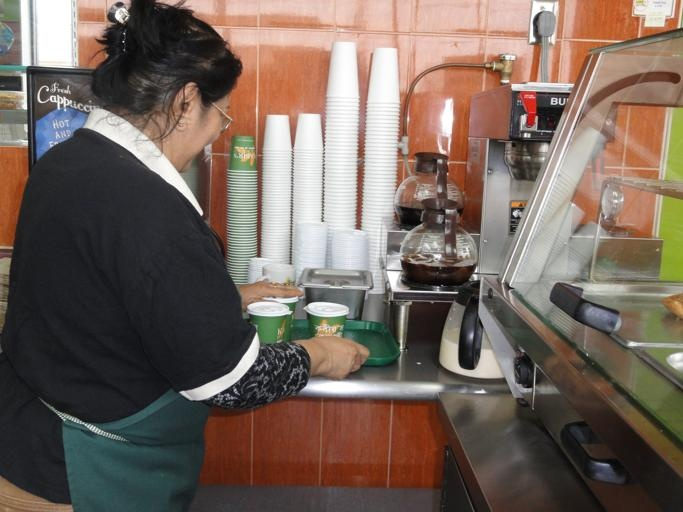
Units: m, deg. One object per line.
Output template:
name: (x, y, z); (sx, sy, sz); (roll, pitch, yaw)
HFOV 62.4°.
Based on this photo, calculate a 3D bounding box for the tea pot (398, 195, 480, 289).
tea pot: (0.301, -0.033, 1.731); (0.236, 0.275, 0.304); (2, 13, -3)

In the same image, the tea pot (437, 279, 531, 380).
tea pot: (0.376, 0.222, 1.555); (0.220, 0.228, 0.321); (7, 14, 22)

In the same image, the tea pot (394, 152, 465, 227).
tea pot: (0.342, -0.227, 2.146); (0.265, 0.306, 0.322); (0, 14, -1)
